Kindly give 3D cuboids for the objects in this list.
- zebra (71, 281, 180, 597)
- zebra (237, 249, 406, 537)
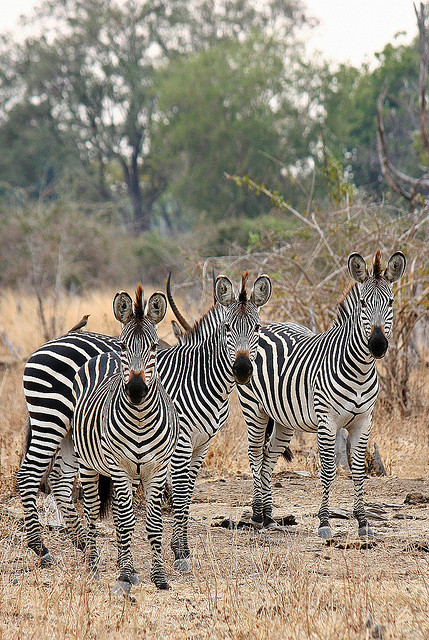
[{"bbox_3d":[-0.566,0.779,6.647,0.424,1.857,1.740,-1,-2,-15],"label":"zebra"},{"bbox_3d":[0.767,0.651,8.091,0.459,2.127,1.861,0,-5,-38],"label":"zebra"}]
